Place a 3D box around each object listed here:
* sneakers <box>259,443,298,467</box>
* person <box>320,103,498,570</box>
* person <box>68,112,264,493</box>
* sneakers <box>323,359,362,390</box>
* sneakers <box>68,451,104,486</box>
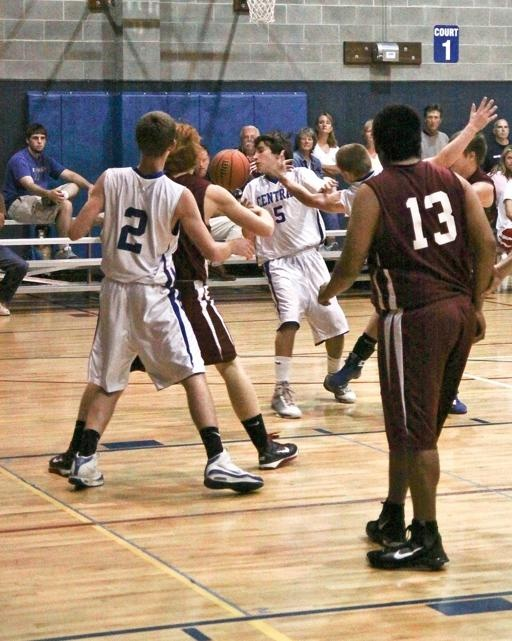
[{"bbox_3d":[0.105,0.616,3.408,0.225,0.091,0.087,-17,12,-41],"label":"sneakers"},{"bbox_3d":[0.487,0.066,2.208,0.489,1.383,0.326,-1,2,-10],"label":"person"},{"bbox_3d":[-0.385,-0.048,2.908,0.801,1.536,0.343,-1,2,4],"label":"person"},{"bbox_3d":[0.583,0.369,4.804,0.273,0.165,0.090,-29,46,-13],"label":"sneakers"},{"bbox_3d":[-0.677,0.640,3.063,0.104,0.116,0.193,3,-1,15],"label":"sneakers"}]
